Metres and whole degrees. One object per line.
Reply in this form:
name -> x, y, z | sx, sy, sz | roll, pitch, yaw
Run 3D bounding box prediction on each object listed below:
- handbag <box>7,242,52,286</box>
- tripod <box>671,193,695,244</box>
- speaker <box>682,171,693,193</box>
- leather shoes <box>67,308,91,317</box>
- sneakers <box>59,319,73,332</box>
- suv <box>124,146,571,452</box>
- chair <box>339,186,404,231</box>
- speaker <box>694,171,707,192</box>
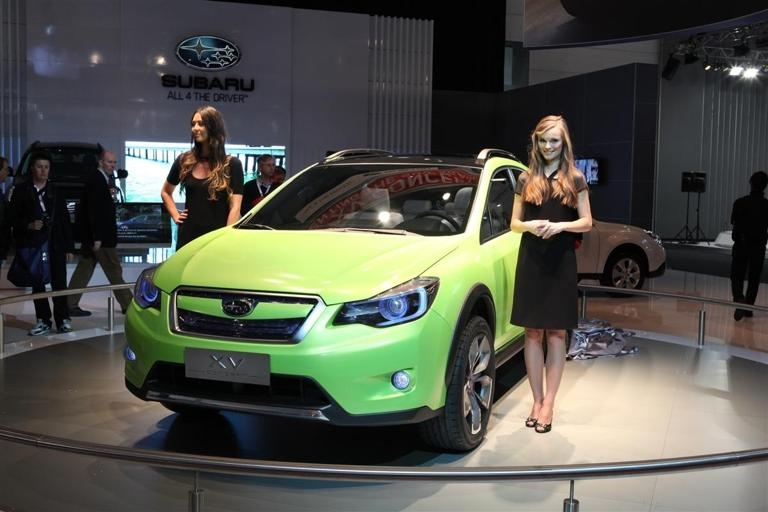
handbag -> -4.219, 0.094, 6.714 | 0.481, 0.540, 0.274 | 3, 3, 3
tripod -> 10.006, -1.339, 18.668 | 0.517, 1.540, 1.225 | 6, 10, 28
speaker -> 9.860, -2.405, 18.250 | 0.336, 0.637, 0.654 | 6, 10, 28
leather shoes -> -3.321, 0.603, 6.134 | 0.249, 0.108, 0.080 | -2, 15, 0
sneakers -> -3.577, 0.771, 6.315 | 0.128, 0.162, 0.051 | -2, 9, -20
suv -> 0.058, 0.073, 4.660 | 1.809, 1.448, 3.207 | 1, 2, 20
chair -> -0.068, -0.377, 4.623 | 0.463, 0.334, 0.350 | 1, 5, 11
speaker -> 10.554, -2.427, 18.712 | 0.328, 0.679, 1.695 | 6, 10, 31
